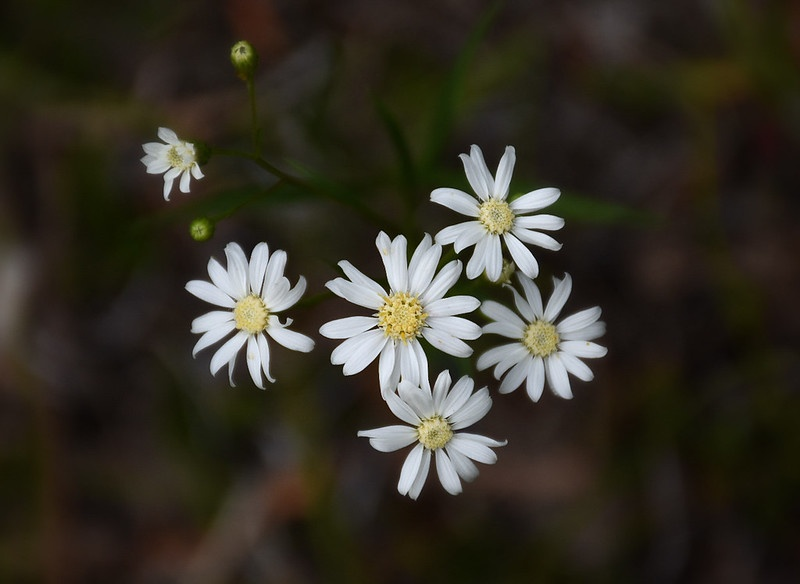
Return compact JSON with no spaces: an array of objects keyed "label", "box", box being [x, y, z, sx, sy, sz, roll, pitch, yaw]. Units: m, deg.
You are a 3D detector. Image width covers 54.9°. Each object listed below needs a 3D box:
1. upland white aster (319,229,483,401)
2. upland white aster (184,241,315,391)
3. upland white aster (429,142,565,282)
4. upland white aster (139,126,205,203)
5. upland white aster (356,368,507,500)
[{"label":"upland white aster","box":[0.009,0.063,1.988,0.415,0.094,0.447,-18,56,-13]},{"label":"upland white aster","box":[-0.401,0.027,2.080,0.147,0.384,0.408,51,49,-7]},{"label":"upland white aster","box":[0.267,-0.208,2.042,0.103,0.423,0.399,-40,86,-12]},{"label":"upland white aster","box":[-0.597,-0.348,2.065,0.129,0.138,0.079,-9,106,-2]},{"label":"upland white aster","box":[0.090,0.379,2.027,0.344,0.116,0.430,3,31,13]}]
